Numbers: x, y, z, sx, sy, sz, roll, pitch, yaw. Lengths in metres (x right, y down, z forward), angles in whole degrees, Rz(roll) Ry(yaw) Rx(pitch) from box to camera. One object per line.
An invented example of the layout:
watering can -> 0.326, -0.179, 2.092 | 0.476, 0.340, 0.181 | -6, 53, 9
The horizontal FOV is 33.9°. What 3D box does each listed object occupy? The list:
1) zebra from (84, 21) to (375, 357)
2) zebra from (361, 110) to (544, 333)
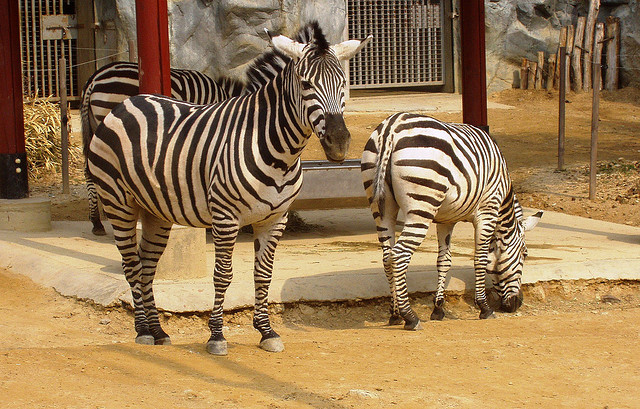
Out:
zebra -> -1.339, -0.102, 14.048 | 4.986, 4.070, 1.692 | -2, -2, 43
zebra -> 2.012, 0.260, 15.664 | 1.417, 3.069, 4.019 | -2, -6, 34
